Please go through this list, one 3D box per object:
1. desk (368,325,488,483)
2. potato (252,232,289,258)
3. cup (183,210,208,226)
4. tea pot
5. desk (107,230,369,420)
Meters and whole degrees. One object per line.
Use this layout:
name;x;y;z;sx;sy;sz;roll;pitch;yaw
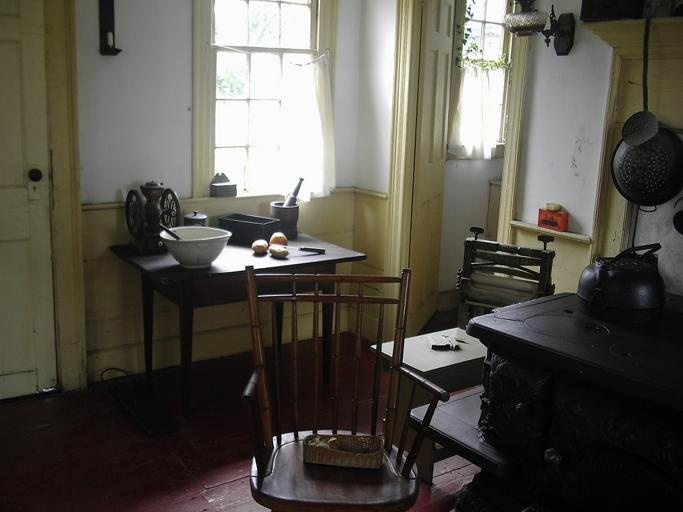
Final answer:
desk;0.384;0.637;2.280;0.526;0.556;0.376;20;28;10
potato;-0.419;-0.061;3.342;0.160;0.069;0.174;9;20;14
cup;-0.926;-0.234;3.419;0.111;0.104;0.120;6;9;-1
tea pot;1.090;0.112;2.037;0.353;0.257;0.214;8;-2;-38
desk;-0.674;0.408;3.601;1.378;1.002;0.792;-6;18;-37
